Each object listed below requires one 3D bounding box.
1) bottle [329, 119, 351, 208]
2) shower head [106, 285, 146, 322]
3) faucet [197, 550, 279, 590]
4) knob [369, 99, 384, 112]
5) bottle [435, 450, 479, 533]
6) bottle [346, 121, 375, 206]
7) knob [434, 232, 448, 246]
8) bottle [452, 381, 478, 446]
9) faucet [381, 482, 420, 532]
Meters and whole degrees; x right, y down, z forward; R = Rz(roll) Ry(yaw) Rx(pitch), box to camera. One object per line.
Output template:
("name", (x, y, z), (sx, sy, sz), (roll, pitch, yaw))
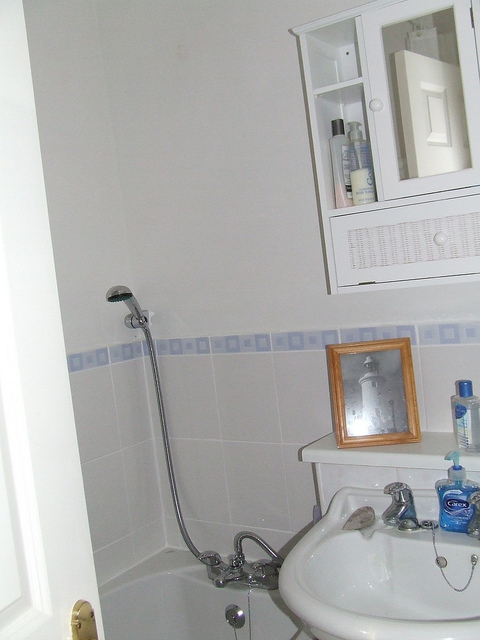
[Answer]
("bottle", (0.263, -0.385, 1.521), (0.051, 0.184, 0.054), (-10, 7, 1))
("shower head", (-0.355, -0.046, 1.811), (0.076, 0.103, 0.049), (-33, 57, -15))
("faucet", (-0.005, 0.722, 1.680), (0.256, 0.091, 0.098), (-5, 8, 28))
("knob", (0.325, -0.508, 1.388), (0.031, 0.027, 0.018), (-6, 10, 34))
("bottle", (0.447, 0.350, 1.199), (0.071, 0.151, 0.103), (-16, 9, -40))
("bottle", (0.300, -0.393, 1.469), (0.056, 0.209, 0.058), (-10, 7, 1))
("knob", (0.468, -0.188, 1.369), (0.029, 0.031, 0.012), (-3, 10, 42))
("bottle", (0.513, 0.211, 1.332), (0.057, 0.133, 0.101), (-8, 7, 18))
("faucet", (0.342, 0.392, 1.255), (0.082, 0.084, 0.100), (-1, 1, 20))
